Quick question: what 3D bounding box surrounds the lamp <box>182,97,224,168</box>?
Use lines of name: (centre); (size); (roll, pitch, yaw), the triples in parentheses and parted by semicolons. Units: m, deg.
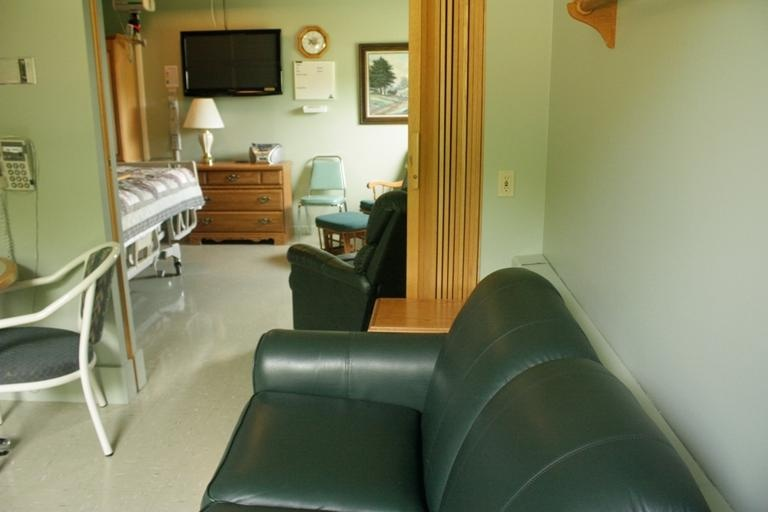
lamp: (-1.991, -1.398, 6.541); (0.639, 0.708, 0.617); (-1, 12, -2)

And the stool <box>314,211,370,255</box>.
stool: (-0.483, -0.158, 5.906); (0.460, 0.414, 0.444); (12, 15, 31)

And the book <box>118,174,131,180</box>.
book: (-2.216, -0.683, 4.989); (0.091, 0.017, 0.373); (-7, 19, -23)

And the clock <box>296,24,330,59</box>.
clock: (-0.778, -2.397, 6.450); (0.386, 0.366, 0.039); (1, 16, -1)

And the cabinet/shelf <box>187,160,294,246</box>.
cabinet/shelf: (-1.670, -0.636, 6.636); (1.088, 0.882, 0.603); (0, 21, -6)
